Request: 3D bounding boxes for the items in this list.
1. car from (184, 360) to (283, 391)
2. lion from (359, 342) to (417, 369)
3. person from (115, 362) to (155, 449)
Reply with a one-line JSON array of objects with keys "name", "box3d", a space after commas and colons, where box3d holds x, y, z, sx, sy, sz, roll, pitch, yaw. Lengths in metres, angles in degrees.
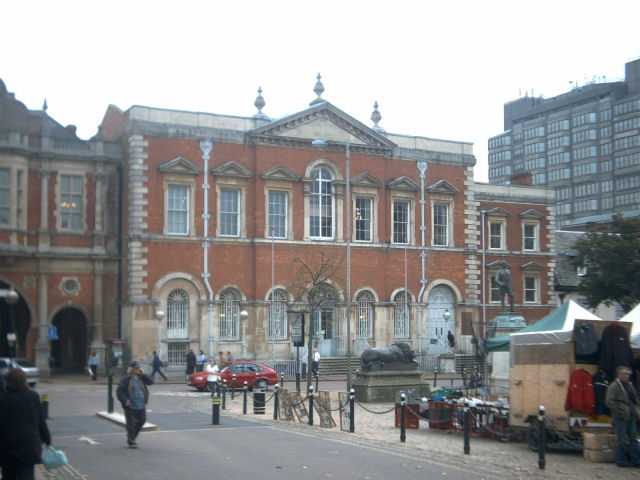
[{"name": "car", "box3d": [-3.929, 6.580, 57.827, 4.076, 1.463, 1.489, 6, -11, -27]}, {"name": "lion", "box3d": [3.054, 5.039, 51.112, 2.599, 1.179, 0.940, 2, -7, -20]}, {"name": "person", "box3d": [-6.204, 5.508, 40.385, 1.013, 2.778, 1.016, 6, -10, -41]}]
